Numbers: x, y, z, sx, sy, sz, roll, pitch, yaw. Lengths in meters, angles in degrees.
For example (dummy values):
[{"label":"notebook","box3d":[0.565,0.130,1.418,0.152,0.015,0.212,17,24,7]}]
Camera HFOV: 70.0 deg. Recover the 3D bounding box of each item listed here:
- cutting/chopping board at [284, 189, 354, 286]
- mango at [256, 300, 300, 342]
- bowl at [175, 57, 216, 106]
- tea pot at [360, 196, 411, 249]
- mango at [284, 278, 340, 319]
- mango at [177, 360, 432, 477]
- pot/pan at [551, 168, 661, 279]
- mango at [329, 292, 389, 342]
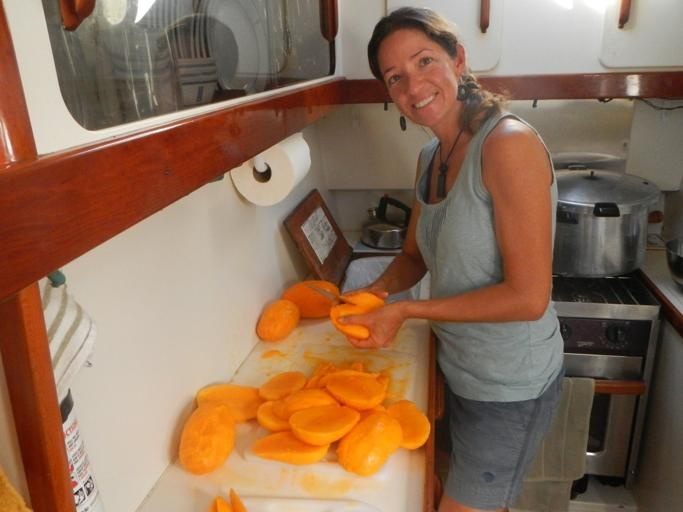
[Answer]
[{"label":"cutting/chopping board","box3d":[-0.088,-0.063,1.773,0.159,0.320,0.340,6,19,12]},{"label":"mango","box3d":[-0.193,0.186,1.476,0.103,0.090,0.166,2,17,12]},{"label":"bowl","box3d":[-0.203,-0.241,0.689,0.042,0.066,0.071,4,17,6]},{"label":"tea pot","box3d":[0.193,-0.139,2.083,0.151,0.167,0.152,4,36,-3]},{"label":"mango","box3d":[-0.090,0.129,1.506,0.160,0.121,0.173,11,21,24]},{"label":"mango","box3d":[-0.071,0.351,1.125,0.540,0.117,0.321,0,16,4]},{"label":"pot/pan","box3d":[0.851,-0.122,1.744,0.328,0.402,0.366,6,18,8]},{"label":"mango","box3d":[0.033,0.139,1.224,0.105,0.049,0.119,-21,21,-28]}]
